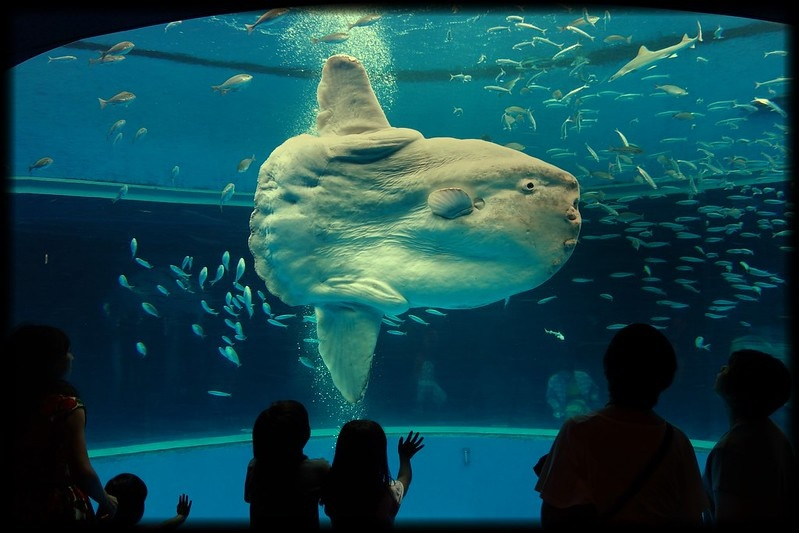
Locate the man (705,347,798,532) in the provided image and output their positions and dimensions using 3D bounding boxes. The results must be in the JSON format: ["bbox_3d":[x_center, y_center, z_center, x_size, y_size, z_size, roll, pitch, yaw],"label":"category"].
[{"bbox_3d":[5.706,2.733,11.357,1.240,2.726,0.319,1,-4,-1],"label":"man"}]

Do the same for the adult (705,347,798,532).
[{"bbox_3d":[5.706,2.733,11.357,1.240,2.726,0.319,1,-4,-1],"label":"adult"}]
